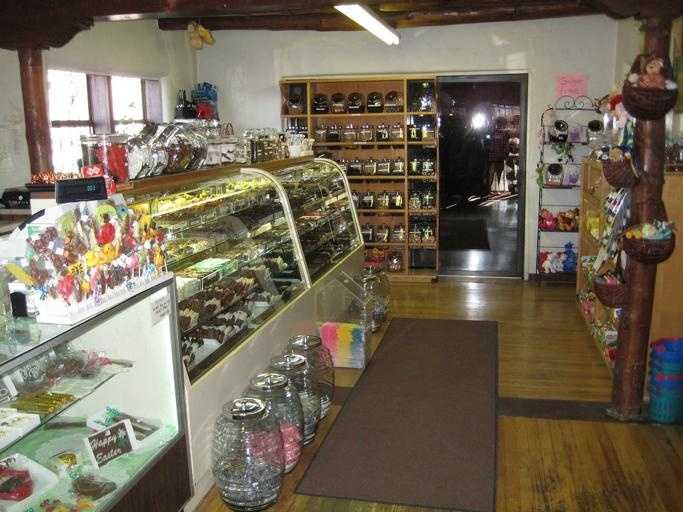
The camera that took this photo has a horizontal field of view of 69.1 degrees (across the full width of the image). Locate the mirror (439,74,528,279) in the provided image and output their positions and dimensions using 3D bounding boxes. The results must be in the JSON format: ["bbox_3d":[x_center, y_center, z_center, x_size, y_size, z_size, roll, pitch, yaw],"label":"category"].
[{"bbox_3d":[2.060,-1.206,7.386,1.256,2.834,0.936,1,15,11],"label":"mirror"}]

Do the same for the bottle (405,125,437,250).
[{"bbox_3d":[1.169,-1.081,7.168,0.435,1.803,0.362,0,14,7],"label":"bottle"}]

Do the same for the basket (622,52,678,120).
[{"bbox_3d":[2.011,-1.089,3.238,0.284,0.484,0.225,4,-2,17],"label":"basket"}]

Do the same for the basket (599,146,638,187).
[{"bbox_3d":[1.906,-0.640,3.524,0.297,0.281,0.236,-1,10,21],"label":"basket"}]

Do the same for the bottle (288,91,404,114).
[{"bbox_3d":[0.025,-2.237,7.243,1.734,0.294,0.269,1,15,11],"label":"bottle"}]

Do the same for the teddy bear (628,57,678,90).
[{"bbox_3d":[2.034,-1.204,3.241,0.287,0.240,0.170,8,17,32],"label":"teddy bear"}]

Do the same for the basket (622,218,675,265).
[{"bbox_3d":[2.109,-0.114,3.421,0.273,0.227,0.316,-5,14,11],"label":"basket"}]

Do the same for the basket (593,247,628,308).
[{"bbox_3d":[1.961,0.188,3.628,0.179,0.290,0.299,0,33,11],"label":"basket"}]
